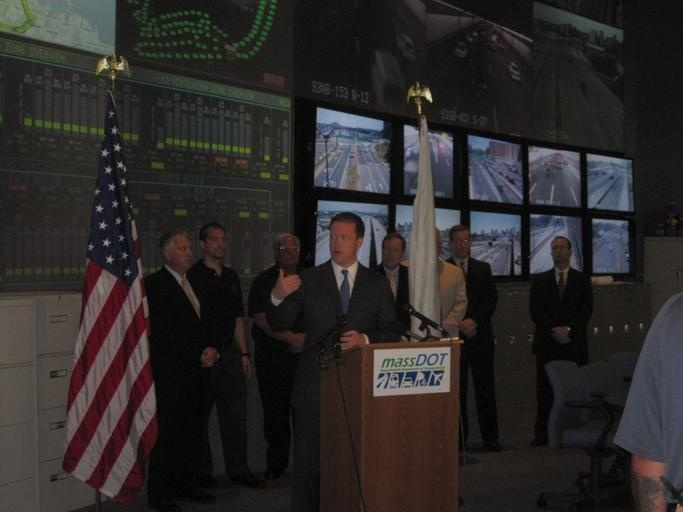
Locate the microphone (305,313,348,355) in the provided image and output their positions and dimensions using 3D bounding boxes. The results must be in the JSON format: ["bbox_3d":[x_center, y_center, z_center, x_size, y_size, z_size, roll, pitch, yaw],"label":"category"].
[{"bbox_3d":[-0.088,0.481,3.786,0.269,0.263,0.614,-1,-2,-2],"label":"microphone"}]

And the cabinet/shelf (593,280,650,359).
[{"bbox_3d":[3.547,0.827,7.901,0.883,0.939,0.310,2,-4,-38],"label":"cabinet/shelf"}]

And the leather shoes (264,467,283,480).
[{"bbox_3d":[-0.602,1.940,5.530,0.088,0.110,0.169,0,-11,4],"label":"leather shoes"}]

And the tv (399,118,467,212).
[{"bbox_3d":[0.956,-0.951,6.573,1.154,1.345,0.055,4,-8,-40],"label":"tv"}]

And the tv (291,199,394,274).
[{"bbox_3d":[-0.032,-0.164,5.489,0.682,0.548,0.015,3,-3,-41],"label":"tv"}]

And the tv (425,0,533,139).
[{"bbox_3d":[1.659,-2.284,7.644,2.202,1.734,0.019,6,-8,-44],"label":"tv"}]

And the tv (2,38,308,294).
[{"bbox_3d":[-1.639,-0.738,5.166,2.170,1.655,0.034,1,-6,-44],"label":"tv"}]

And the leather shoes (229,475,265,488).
[{"bbox_3d":[-0.811,1.924,5.355,0.267,0.126,0.123,-2,-4,11],"label":"leather shoes"}]

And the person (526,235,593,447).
[{"bbox_3d":[2.423,0.908,6.995,0.925,2.278,0.600,0,-1,-43],"label":"person"}]

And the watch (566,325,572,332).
[{"bbox_3d":[2.537,0.809,6.847,0.044,0.038,0.045,2,4,20],"label":"watch"}]

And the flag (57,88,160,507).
[{"bbox_3d":[-1.725,0.295,4.613,0.647,3.049,0.217,0,-1,-28],"label":"flag"}]

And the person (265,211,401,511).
[{"bbox_3d":[-0.044,0.706,4.020,0.845,1.963,0.670,-1,-1,5],"label":"person"}]

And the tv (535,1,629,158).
[{"bbox_3d":[3.380,-2.498,8.811,2.116,2.306,0.029,5,-6,-35],"label":"tv"}]

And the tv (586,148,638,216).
[{"bbox_3d":[3.894,-1.043,8.942,0.926,0.738,0.098,3,-6,-36],"label":"tv"}]

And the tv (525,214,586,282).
[{"bbox_3d":[2.699,-0.097,7.887,0.783,0.835,0.057,3,-5,-32],"label":"tv"}]

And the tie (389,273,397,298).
[{"bbox_3d":[0.501,0.274,5.662,0.140,0.225,0.048,-2,-2,-34],"label":"tie"}]

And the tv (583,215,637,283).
[{"bbox_3d":[3.822,-0.098,8.832,0.864,0.932,0.084,2,-4,-39],"label":"tv"}]

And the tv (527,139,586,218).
[{"bbox_3d":[2.864,-1.051,8.316,0.992,0.763,0.043,0,-1,-32],"label":"tv"}]
